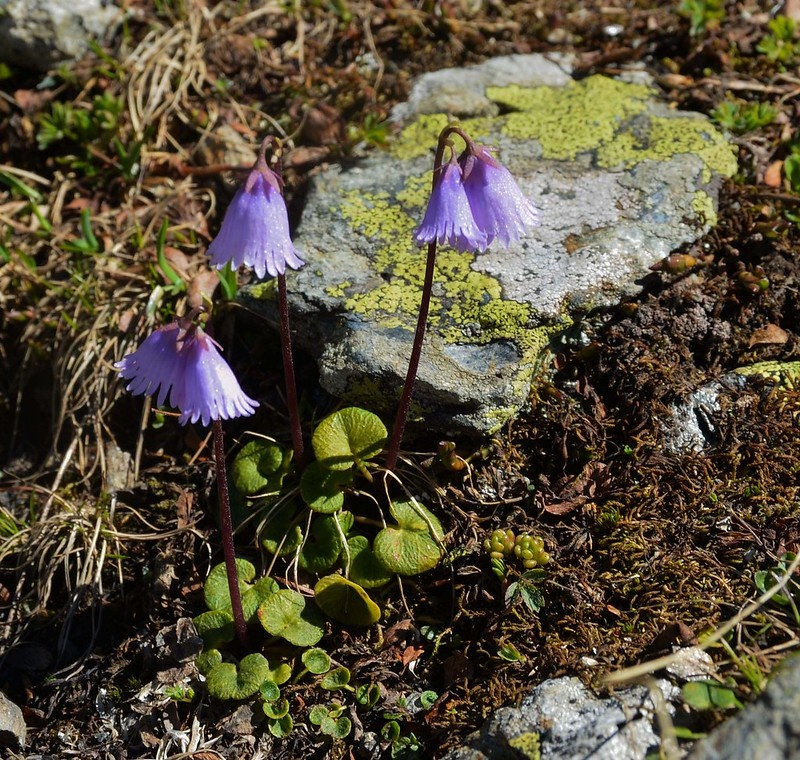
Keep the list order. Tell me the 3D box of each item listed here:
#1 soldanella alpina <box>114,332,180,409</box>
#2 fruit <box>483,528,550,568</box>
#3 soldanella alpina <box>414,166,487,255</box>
[{"bbox_3d":[-1.074,-0.060,4.355,0.326,0.326,0.286,0,13,-4],"label":"soldanella alpina"},{"bbox_3d":[0.566,0.818,4.816,0.282,0.159,0.125,12,70,41],"label":"fruit"},{"bbox_3d":[0.233,-0.798,4.302,0.403,0.336,0.282,4,25,-14],"label":"soldanella alpina"}]
